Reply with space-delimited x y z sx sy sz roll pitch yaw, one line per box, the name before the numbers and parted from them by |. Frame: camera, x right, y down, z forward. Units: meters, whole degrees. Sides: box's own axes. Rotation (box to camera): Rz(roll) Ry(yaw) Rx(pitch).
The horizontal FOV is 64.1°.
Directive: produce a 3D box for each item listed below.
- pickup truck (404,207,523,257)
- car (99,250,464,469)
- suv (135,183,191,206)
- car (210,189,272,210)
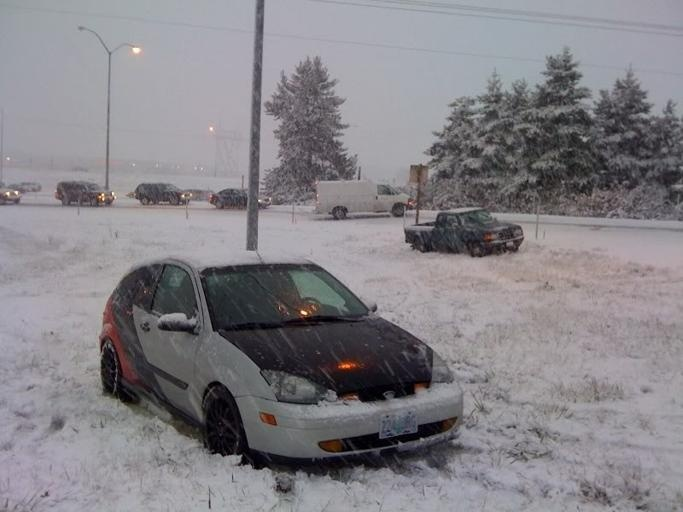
pickup truck | 3.910 -0.738 17.384 3.391 1.417 1.651 11 14 41
car | -0.666 1.050 6.031 3.879 1.789 1.755 7 11 28
suv | -13.346 -4.589 40.512 3.344 1.513 1.755 0 10 -9
car | -7.282 -4.035 38.529 3.822 1.319 2.157 -3 11 -23
